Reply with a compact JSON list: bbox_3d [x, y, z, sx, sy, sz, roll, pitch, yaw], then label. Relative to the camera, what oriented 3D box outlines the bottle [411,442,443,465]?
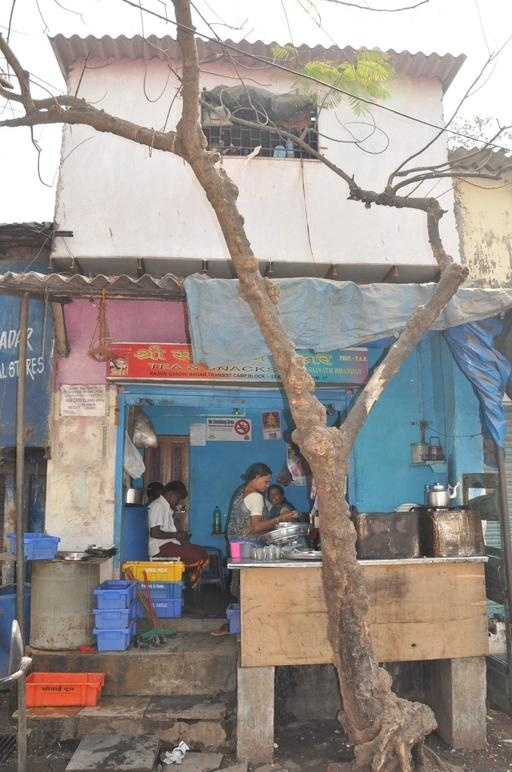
[{"bbox_3d":[1.855,0.723,8.778,0.245,0.162,0.249,-2,-3,0],"label":"bottle"}]

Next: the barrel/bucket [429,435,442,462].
[{"bbox_3d":[1.949,0.677,8.824,0.145,0.268,0.313,-4,-6,14],"label":"barrel/bucket"}]

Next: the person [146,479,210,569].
[{"bbox_3d":[-0.881,1.674,9.213,0.695,1.194,0.571,5,-6,9],"label":"person"}]

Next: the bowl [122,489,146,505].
[{"bbox_3d":[-1.321,1.201,8.805,0.179,0.137,0.181,1,-12,0],"label":"bowl"}]

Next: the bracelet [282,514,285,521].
[{"bbox_3d":[0.260,1.244,7.706,0.019,0.059,0.058,-7,-3,-1],"label":"bracelet"}]

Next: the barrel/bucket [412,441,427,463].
[{"bbox_3d":[1.740,0.732,8.811,0.182,0.195,0.186,1,-5,0],"label":"barrel/bucket"}]

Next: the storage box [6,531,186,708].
[{"bbox_3d":[-1.677,2.069,7.383,1.296,0.822,1.332,-1,-6,-10],"label":"storage box"}]

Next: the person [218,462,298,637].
[{"bbox_3d":[0.053,1.574,8.451,0.683,1.615,0.519,0,16,-12],"label":"person"}]
